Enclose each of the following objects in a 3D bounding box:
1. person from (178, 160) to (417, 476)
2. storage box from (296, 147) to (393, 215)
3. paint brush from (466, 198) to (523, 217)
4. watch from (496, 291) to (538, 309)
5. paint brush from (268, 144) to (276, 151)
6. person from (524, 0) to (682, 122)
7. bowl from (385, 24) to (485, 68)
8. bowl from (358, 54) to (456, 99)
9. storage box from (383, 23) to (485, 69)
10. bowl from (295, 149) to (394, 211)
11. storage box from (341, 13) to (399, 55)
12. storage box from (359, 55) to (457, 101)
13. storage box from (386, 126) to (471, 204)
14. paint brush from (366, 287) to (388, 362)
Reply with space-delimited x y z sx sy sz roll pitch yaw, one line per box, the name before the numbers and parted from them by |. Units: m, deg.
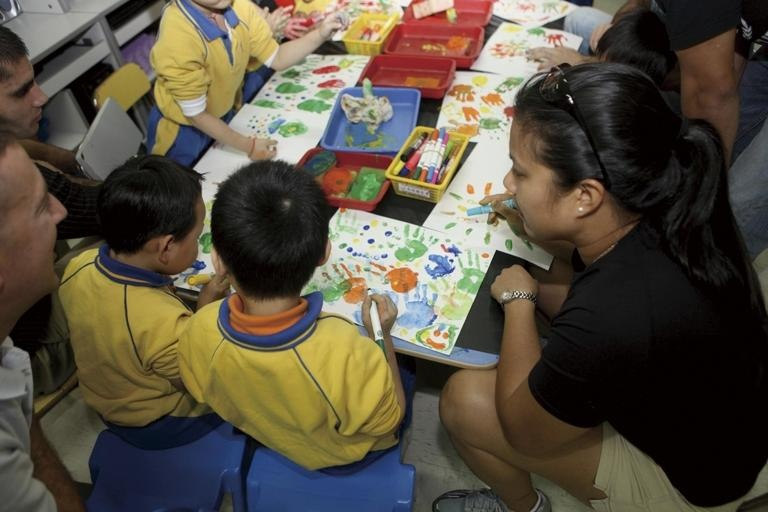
person | -0.322 0.317 2.128 0.815 1.362 0.651 7 44 6
storage box | -0.165 -0.343 2.511 0.366 0.085 0.289 9 58 6
paint brush | 0.452 -0.193 2.222 0.177 0.035 0.043 -18 30 23
watch | 0.498 0.178 2.007 0.098 0.099 0.063 10 73 -10
paint brush | -0.538 -0.522 2.642 0.029 0.022 0.042 3 60 4
person | 0.886 -0.793 2.227 0.527 0.328 0.931 7 23 20
bowl | 0.286 -1.190 3.039 0.476 0.081 0.303 7 60 15
bowl | 0.147 -0.954 2.891 0.433 0.076 0.272 5 58 16
storage box | 0.287 -1.194 3.041 0.480 0.082 0.306 7 60 15
bowl | -0.163 -0.334 2.532 0.364 0.088 0.288 10 59 5
storage box | -0.076 -1.301 3.144 0.254 0.118 0.372 11 58 17
storage box | 0.136 -0.937 2.931 0.437 0.078 0.273 5 61 16
storage box | 0.199 -0.421 2.438 0.288 0.130 0.403 16 66 27
paint brush | -0.020 0.245 2.029 0.031 0.027 0.229 -6 55 -5
